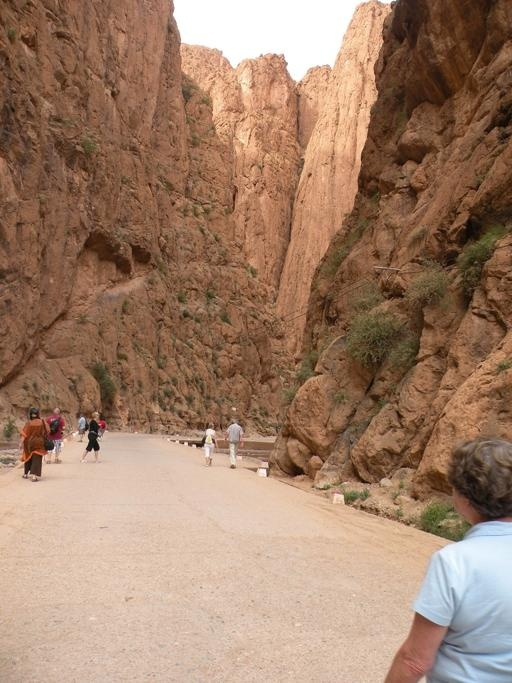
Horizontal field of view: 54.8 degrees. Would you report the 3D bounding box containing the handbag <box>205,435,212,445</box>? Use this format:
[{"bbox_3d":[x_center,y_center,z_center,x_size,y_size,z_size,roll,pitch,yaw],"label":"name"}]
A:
[{"bbox_3d":[-1.467,3.087,15.410,0.264,0.353,0.158,2,-9,-4],"label":"handbag"}]

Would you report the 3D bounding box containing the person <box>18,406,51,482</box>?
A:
[{"bbox_3d":[-4.655,2.203,10.367,0.567,1.599,0.753,11,-5,-23],"label":"person"}]
